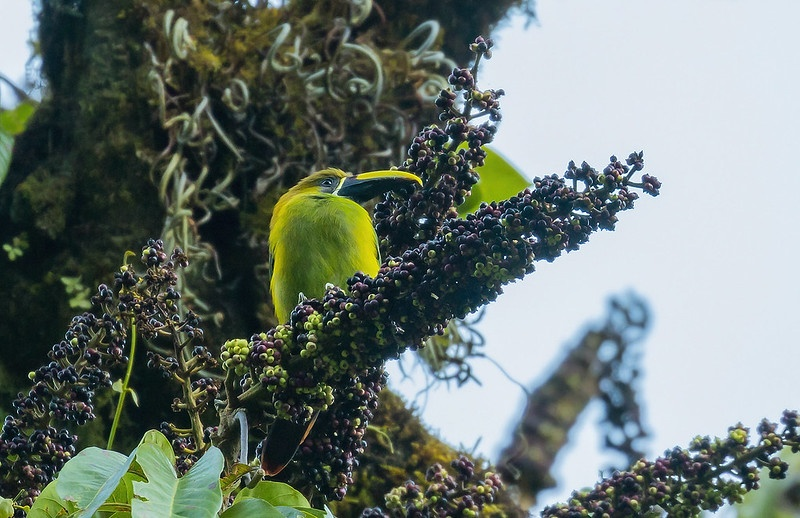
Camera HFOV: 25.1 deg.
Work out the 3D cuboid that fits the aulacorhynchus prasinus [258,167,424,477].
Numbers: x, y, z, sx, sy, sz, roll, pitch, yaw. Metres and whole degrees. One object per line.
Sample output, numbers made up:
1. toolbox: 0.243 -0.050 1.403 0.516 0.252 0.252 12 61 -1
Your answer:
1. aulacorhynchus prasinus: -0.374 0.236 9.019 0.552 1.717 0.749 16 7 -33
